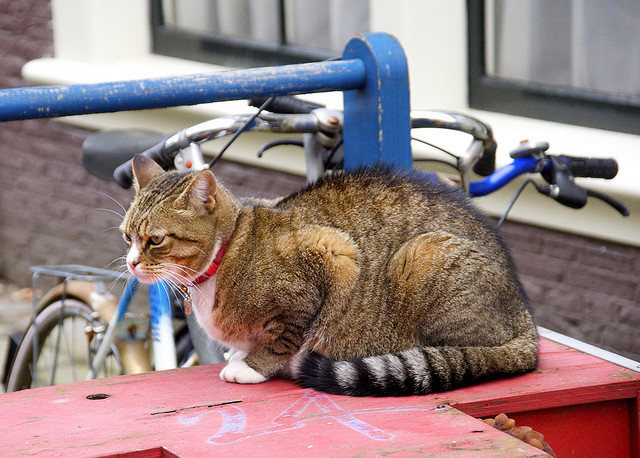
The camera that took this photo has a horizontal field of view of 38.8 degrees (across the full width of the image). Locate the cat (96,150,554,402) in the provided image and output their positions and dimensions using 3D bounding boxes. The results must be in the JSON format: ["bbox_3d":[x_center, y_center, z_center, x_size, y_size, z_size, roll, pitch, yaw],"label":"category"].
[{"bbox_3d":[0.010,0.097,2.821,1.149,0.588,0.688,-1,3,-7],"label":"cat"}]
